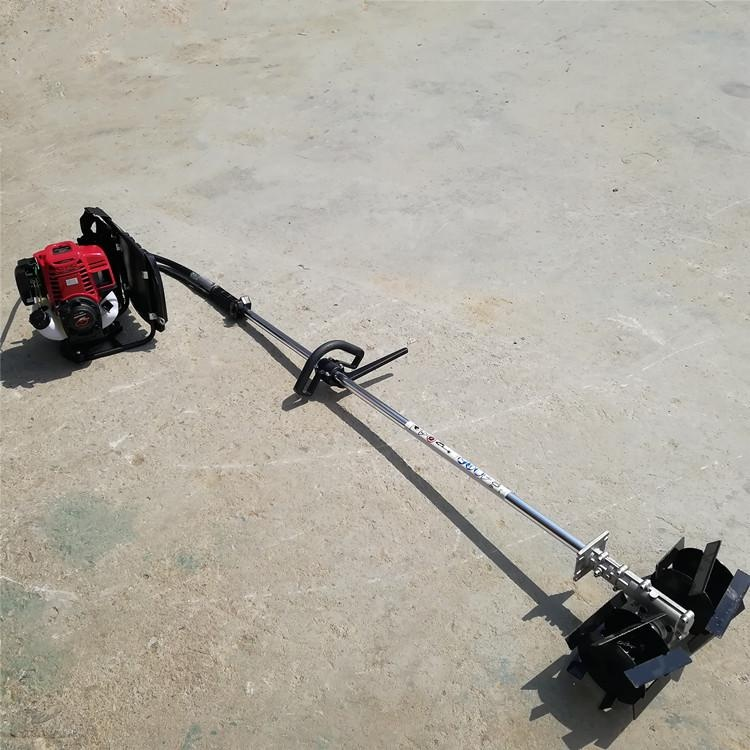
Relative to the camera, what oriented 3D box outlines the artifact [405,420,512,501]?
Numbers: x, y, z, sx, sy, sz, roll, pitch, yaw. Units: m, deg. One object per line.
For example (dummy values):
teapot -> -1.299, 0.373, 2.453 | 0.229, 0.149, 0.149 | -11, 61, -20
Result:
artifact -> 0.608, 0.659, 5.024 | 0.981, 0.103, 0.113 | 32, 56, 34
